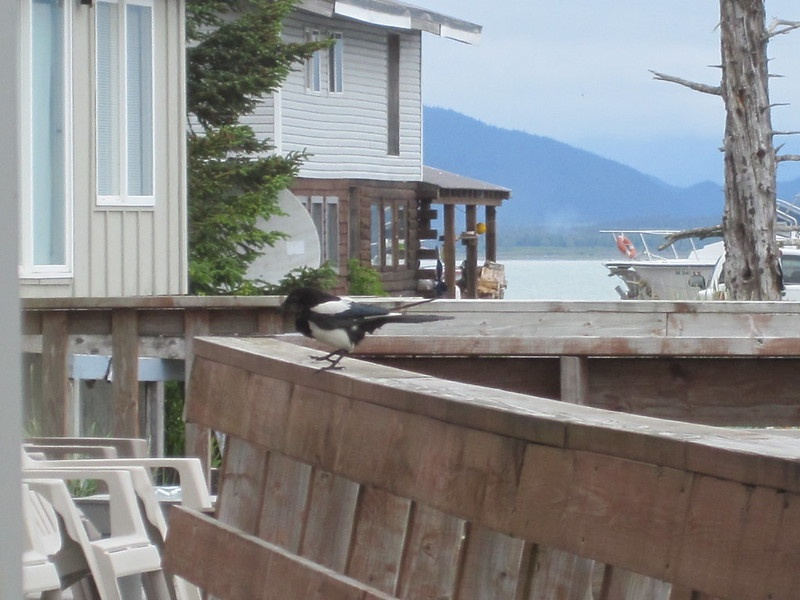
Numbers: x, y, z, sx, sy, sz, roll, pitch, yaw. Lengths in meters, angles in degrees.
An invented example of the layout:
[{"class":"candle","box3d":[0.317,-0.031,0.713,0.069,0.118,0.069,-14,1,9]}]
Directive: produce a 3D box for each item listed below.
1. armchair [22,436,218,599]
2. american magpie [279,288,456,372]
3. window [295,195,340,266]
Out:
[{"class":"armchair","box3d":[-3.295,2.444,23.392,1.864,2.679,1.900,-3,-4,32]},{"class":"american magpie","box3d":[-0.304,0.271,21.820,2.230,1.083,0.692,-2,5,-2]},{"class":"window","box3d":[-1.533,-1.283,37.458,0.120,1.654,1.328,-6,-7,34]}]
